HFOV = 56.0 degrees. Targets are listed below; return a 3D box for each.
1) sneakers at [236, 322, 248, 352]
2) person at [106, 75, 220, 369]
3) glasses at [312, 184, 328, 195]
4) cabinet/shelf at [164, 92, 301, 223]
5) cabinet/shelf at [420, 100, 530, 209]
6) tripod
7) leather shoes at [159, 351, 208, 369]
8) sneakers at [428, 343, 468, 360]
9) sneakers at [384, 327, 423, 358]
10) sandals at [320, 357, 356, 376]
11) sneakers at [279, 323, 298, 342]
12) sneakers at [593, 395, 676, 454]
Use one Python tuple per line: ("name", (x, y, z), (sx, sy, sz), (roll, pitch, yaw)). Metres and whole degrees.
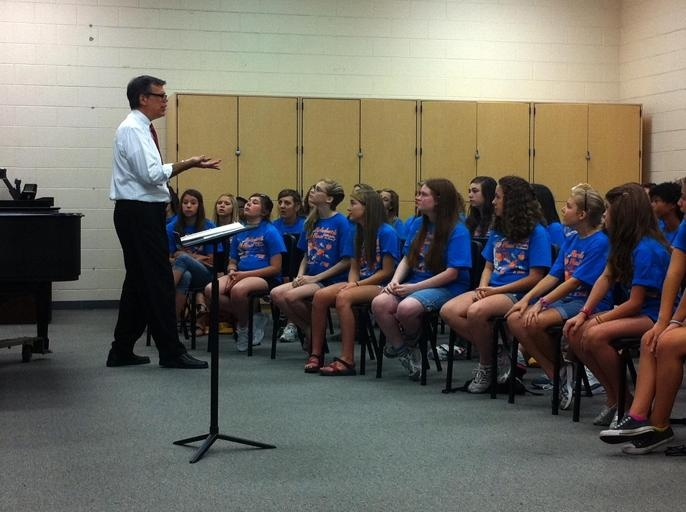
("sneakers", (-0.842, 0.678, 5.468), (0.072, 0.242, 0.096), (-2, 3, 11))
("person", (-1.309, -0.245, 4.507), (0.837, 2.110, 0.428), (2, 4, 36))
("glasses", (-0.181, -0.524, 5.022), (0.070, 0.094, 0.103), (-5, -42, 36))
("cabinet/shelf", (-1.223, -1.114, 7.196), (1.585, 1.649, 0.647), (-1, 1, -14))
("cabinet/shelf", (1.388, -1.161, 7.065), (1.457, 1.440, 0.541), (1, 2, -6))
("tripod", (-0.640, 0.499, 3.205), (0.427, 0.807, 0.623), (-3, 4, -28))
("leather shoes", (-1.110, 0.744, 4.598), (0.350, 0.142, 0.137), (0, -1, -2))
("sneakers", (0.848, 0.771, 5.212), (0.249, 0.097, 0.186), (2, -3, -27))
("sneakers", (0.404, 0.616, 4.516), (0.362, 0.177, 0.126), (-24, -16, 37))
("sandals", (-0.027, 0.778, 4.548), (0.209, 0.099, 0.111), (3, -9, -14))
("sneakers", (-0.506, 0.729, 6.132), (0.107, 0.135, 0.285), (-1, -7, 4))
("sneakers", (1.372, 0.832, 3.013), (0.376, 0.179, 0.096), (-2, 4, -22))
